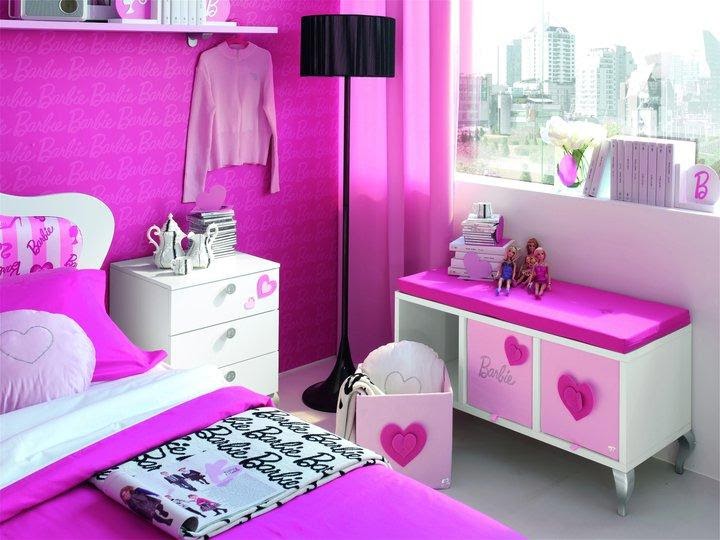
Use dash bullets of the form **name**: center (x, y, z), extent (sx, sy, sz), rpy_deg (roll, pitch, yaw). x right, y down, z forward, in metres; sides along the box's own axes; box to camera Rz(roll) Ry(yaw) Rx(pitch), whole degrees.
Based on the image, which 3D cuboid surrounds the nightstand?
- **nightstand**: center (-0.865, 0.366, 2.889), extent (0.535, 0.747, 0.732), rpy_deg (9, 10, 36)

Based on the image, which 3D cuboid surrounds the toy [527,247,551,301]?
- **toy**: center (0.836, 0.020, 2.537), extent (0.075, 0.259, 0.123), rpy_deg (-1, -36, 21)

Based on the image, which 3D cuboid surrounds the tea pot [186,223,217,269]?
- **tea pot**: center (-0.797, -0.114, 2.731), extent (0.133, 0.295, 0.184), rpy_deg (8, 10, 44)

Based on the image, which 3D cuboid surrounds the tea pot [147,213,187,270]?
- **tea pot**: center (-0.970, -0.116, 2.693), extent (0.176, 0.266, 0.142), rpy_deg (-1, -3, -6)

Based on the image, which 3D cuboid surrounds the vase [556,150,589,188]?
- **vase**: center (1.066, -0.523, 2.740), extent (0.107, 0.195, 0.122), rpy_deg (-20, 21, -40)

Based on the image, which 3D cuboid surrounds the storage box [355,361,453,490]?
- **storage box**: center (0.196, 0.691, 2.483), extent (0.372, 0.421, 0.405), rpy_deg (0, 7, -4)

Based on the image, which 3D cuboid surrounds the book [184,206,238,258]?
- **book**: center (-0.798, -0.245, 2.902), extent (0.223, 0.277, 0.265), rpy_deg (-7, 13, -29)

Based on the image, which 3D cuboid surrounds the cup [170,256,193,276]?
- **cup**: center (-0.859, -0.015, 2.594), extent (0.094, 0.075, 0.063), rpy_deg (-6, 12, -26)

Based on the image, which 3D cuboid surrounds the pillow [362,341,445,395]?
- **pillow**: center (0.213, 0.448, 2.465), extent (0.229, 0.300, 0.066), rpy_deg (-11, 6, 12)

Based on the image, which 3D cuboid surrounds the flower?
- **flower**: center (1.025, -0.565, 2.762), extent (0.294, 0.396, 0.359), rpy_deg (-1, 6, -3)

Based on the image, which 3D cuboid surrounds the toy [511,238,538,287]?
- **toy**: center (0.808, -0.029, 2.623), extent (0.077, 0.214, 0.057), rpy_deg (14, -12, 26)

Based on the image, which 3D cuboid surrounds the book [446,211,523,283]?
- **book**: center (0.636, -0.137, 2.797), extent (0.311, 0.347, 0.304), rpy_deg (3, 6, 33)

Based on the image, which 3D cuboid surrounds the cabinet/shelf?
- **cabinet/shelf**: center (0.852, 0.497, 2.711), extent (0.621, 0.826, 1.261), rpy_deg (-11, 14, -32)

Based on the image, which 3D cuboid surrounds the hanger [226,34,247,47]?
- **hanger**: center (-0.673, -1.239, 2.917), extent (0.092, 0.074, 0.021), rpy_deg (-8, 14, -32)
